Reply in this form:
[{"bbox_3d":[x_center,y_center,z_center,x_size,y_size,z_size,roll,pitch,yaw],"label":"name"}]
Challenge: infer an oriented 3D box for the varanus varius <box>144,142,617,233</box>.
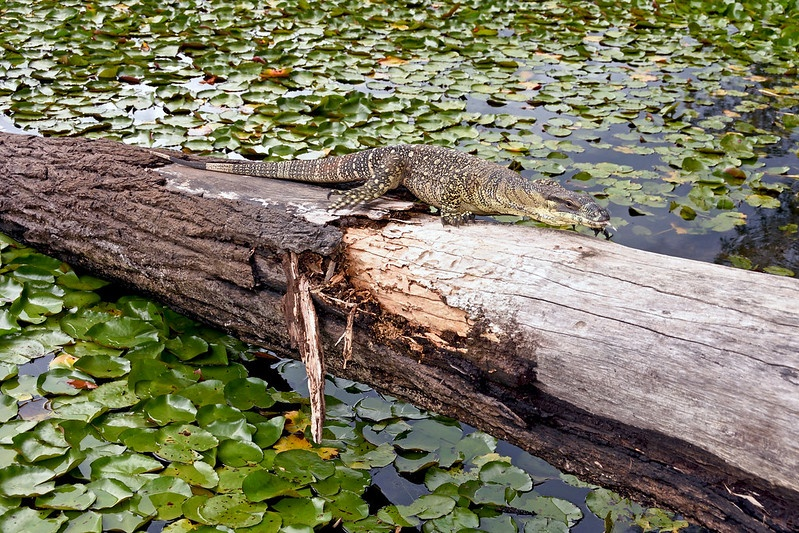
[{"bbox_3d":[0.355,-0.892,7.580,5.330,0.454,1.520,11,11,29],"label":"varanus varius"}]
